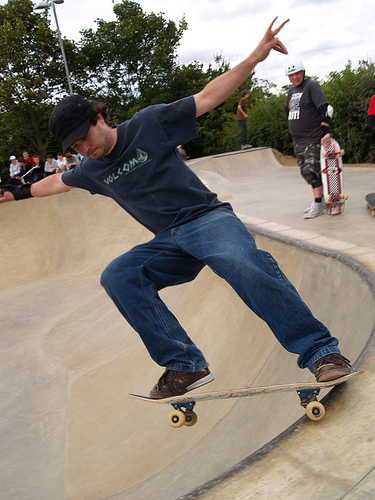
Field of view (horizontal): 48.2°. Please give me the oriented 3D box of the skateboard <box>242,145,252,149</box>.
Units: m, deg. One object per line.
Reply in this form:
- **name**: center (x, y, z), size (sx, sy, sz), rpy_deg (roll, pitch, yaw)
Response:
- **skateboard**: center (2.528, -4.318, 17.585), size (0.368, 0.145, 0.115), rpy_deg (-8, 46, 24)

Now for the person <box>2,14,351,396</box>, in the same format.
- **person**: center (-0.014, -0.088, 2.335), size (1.478, 1.706, 0.707), rpy_deg (-4, 16, 27)

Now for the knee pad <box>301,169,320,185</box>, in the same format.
- **knee pad**: center (1.669, -1.003, 5.731), size (0.138, 0.116, 0.232), rpy_deg (-48, 51, -3)

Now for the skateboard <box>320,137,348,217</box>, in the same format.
- **skateboard**: center (1.878, -0.948, 5.456), size (0.327, 1.101, 0.165), rpy_deg (-3, -17, 4)
